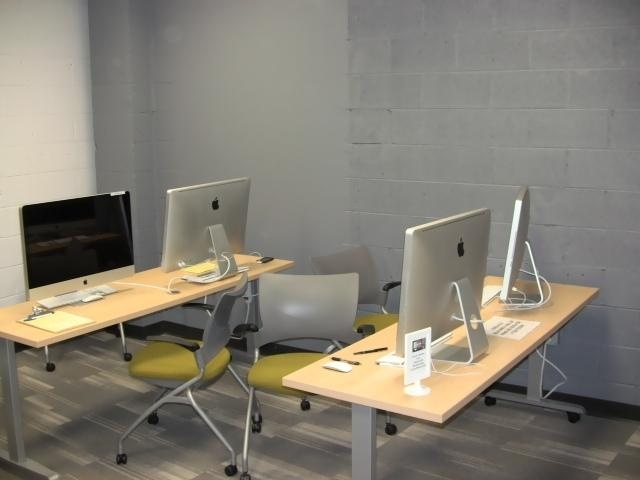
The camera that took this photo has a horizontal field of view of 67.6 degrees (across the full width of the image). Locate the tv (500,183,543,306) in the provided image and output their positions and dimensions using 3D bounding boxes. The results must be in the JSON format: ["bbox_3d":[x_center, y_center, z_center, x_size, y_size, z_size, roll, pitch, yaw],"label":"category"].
[{"bbox_3d":[1.334,0.016,3.123,0.265,0.609,0.702,7,15,26],"label":"tv"}]

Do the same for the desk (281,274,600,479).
[{"bbox_3d":[0.650,0.675,2.467,0.702,0.410,1.649,12,18,43],"label":"desk"}]

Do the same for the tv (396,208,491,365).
[{"bbox_3d":[0.575,0.231,2.140,0.325,0.606,0.694,14,20,37],"label":"tv"}]

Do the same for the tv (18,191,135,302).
[{"bbox_3d":[-1.521,0.056,3.028,0.097,0.678,0.908,-1,5,34],"label":"tv"}]

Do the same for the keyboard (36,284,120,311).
[{"bbox_3d":[-1.560,0.367,3.062,0.153,0.028,0.265,13,18,35],"label":"keyboard"}]

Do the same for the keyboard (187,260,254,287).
[{"bbox_3d":[-0.738,0.246,3.445,0.179,0.029,0.280,12,20,32],"label":"keyboard"}]

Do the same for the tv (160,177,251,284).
[{"bbox_3d":[-0.794,-0.050,3.396,0.257,0.641,0.792,28,32,29],"label":"tv"}]
